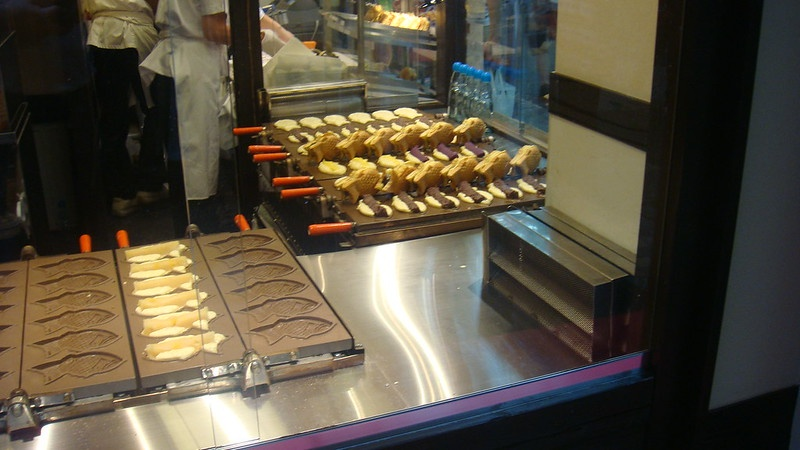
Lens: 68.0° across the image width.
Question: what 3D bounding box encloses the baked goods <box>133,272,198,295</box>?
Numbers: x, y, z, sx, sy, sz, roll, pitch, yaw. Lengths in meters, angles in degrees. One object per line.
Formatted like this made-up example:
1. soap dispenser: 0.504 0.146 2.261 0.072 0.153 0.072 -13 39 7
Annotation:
1. baked goods: -0.568 0.142 1.452 0.164 0.034 0.045 -6 12 21

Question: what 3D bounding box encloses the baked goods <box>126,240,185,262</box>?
1. baked goods: -0.585 0.068 1.406 0.181 0.035 0.034 -7 13 21

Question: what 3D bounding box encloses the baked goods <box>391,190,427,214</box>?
1. baked goods: 0.023 -0.083 2.017 0.070 0.027 0.086 -16 34 -26

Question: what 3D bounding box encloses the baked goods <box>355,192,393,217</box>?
1. baked goods: -0.088 -0.058 1.972 0.080 0.024 0.084 -20 40 -36

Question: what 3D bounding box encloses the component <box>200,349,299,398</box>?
1. component: -0.332 0.351 1.464 0.244 0.085 0.072 -18 4 28

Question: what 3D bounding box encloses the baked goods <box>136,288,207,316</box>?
1. baked goods: -0.559 0.196 1.447 0.178 0.072 0.026 -3 -12 21

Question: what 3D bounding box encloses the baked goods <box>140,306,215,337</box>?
1. baked goods: -0.536 0.247 1.444 0.180 0.048 0.071 -8 30 -29

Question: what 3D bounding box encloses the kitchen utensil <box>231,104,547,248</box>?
1. kitchen utensil: -0.070 -0.193 1.966 0.655 0.065 0.523 -10 33 -17

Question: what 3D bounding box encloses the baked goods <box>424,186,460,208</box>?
1. baked goods: 0.138 -0.087 2.032 0.067 0.021 0.092 -13 32 -18

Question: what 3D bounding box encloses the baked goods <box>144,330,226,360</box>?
1. baked goods: -0.518 0.296 1.432 0.159 0.048 0.082 -9 50 0

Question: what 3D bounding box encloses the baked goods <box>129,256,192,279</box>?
1. baked goods: -0.574 0.100 1.433 0.161 0.032 0.042 -8 0 23
